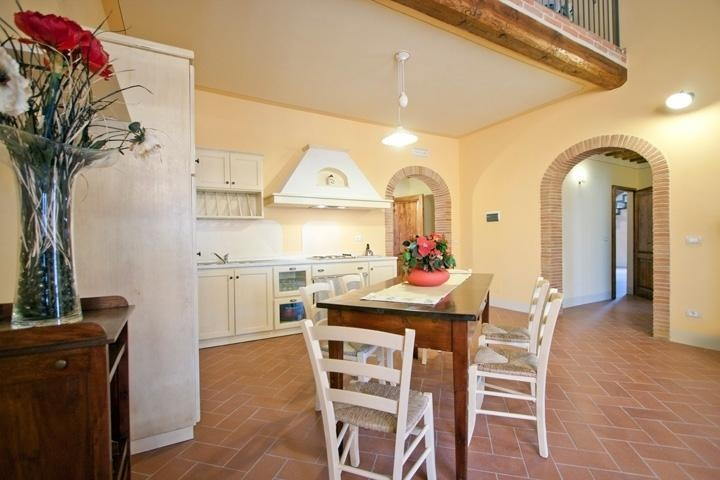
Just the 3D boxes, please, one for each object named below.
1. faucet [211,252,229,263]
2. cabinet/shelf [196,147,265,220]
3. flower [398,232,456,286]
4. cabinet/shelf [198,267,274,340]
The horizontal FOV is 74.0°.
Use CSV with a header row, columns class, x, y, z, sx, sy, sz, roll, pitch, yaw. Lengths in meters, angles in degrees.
class,x,y,z,sx,sy,sz,roll,pitch,yaw
faucet,-1.933,0.229,6.595,0.218,0.148,0.206,-1,0,-18
cabinet/shelf,-1.802,-0.767,6.467,1.068,1.023,0.371,-2,3,-39
flower,0.659,0.185,4.670,0.489,0.458,0.498,1,-2,-2
cabinet/shelf,-1.633,0.789,6.085,0.946,0.850,0.364,0,-1,-31
